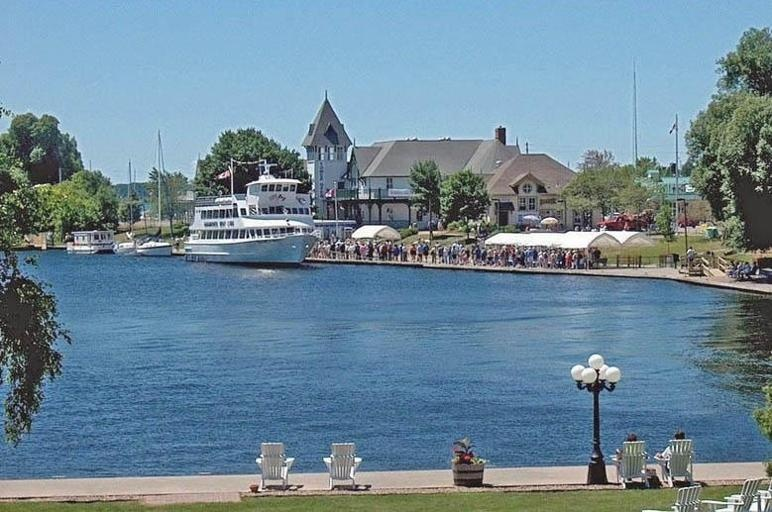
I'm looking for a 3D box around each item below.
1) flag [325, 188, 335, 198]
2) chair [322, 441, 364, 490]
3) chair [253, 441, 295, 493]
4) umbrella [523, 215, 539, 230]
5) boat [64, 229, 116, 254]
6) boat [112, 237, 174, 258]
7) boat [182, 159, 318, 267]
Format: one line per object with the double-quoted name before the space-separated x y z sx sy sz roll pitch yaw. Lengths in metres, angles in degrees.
"flag" -7.286 -7.980 214.983 0.879 1.335 3.988 -2 8 -10
"chair" -2.089 10.152 80.197 1.461 2.083 0.960 -1 8 -2
"chair" -5.449 10.252 80.768 1.660 2.257 1.707 1 3 -8
"umbrella" 16.505 -3.668 187.238 1.719 1.217 1.746 -2 6 -9
"boat" -37.876 -1.475 212.305 3.325 2.553 5.166 -1 0 -43
"boat" -28.961 -0.724 200.886 2.922 2.381 9.880 -5 0 -35
"boat" -13.831 -4.191 169.513 8.022 12.300 27.942 1 -3 -15
